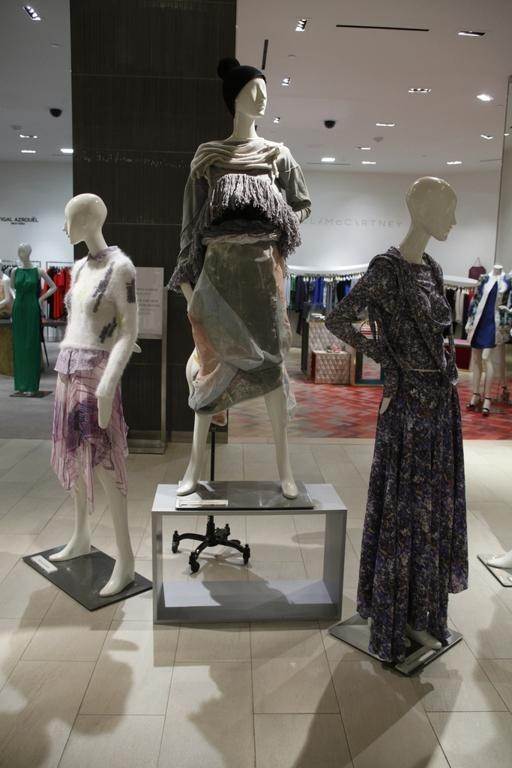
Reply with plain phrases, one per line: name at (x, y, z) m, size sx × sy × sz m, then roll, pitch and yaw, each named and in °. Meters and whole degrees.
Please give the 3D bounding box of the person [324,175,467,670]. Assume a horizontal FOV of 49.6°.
person at (0.456, 0.216, 1.783) m, size 0.401 × 1.286 × 0.325 m, roll -3°, pitch 9°, yaw -34°

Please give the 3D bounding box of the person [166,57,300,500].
person at (-0.047, -0.386, 2.006) m, size 0.527 × 1.635 × 0.365 m, roll 0°, pitch 8°, yaw -9°

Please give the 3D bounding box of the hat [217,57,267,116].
hat at (-0.055, -1.063, 1.976) m, size 0.151 × 0.184 × 0.141 m, roll 8°, pitch 11°, yaw 32°

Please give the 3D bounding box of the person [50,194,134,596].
person at (-0.578, 0.071, 2.079) m, size 0.279 × 1.518 × 0.438 m, roll -4°, pitch 9°, yaw -38°

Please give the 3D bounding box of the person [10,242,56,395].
person at (-2.460, -0.706, 6.115) m, size 0.439 × 1.649 × 0.561 m, roll -2°, pitch 8°, yaw -24°
